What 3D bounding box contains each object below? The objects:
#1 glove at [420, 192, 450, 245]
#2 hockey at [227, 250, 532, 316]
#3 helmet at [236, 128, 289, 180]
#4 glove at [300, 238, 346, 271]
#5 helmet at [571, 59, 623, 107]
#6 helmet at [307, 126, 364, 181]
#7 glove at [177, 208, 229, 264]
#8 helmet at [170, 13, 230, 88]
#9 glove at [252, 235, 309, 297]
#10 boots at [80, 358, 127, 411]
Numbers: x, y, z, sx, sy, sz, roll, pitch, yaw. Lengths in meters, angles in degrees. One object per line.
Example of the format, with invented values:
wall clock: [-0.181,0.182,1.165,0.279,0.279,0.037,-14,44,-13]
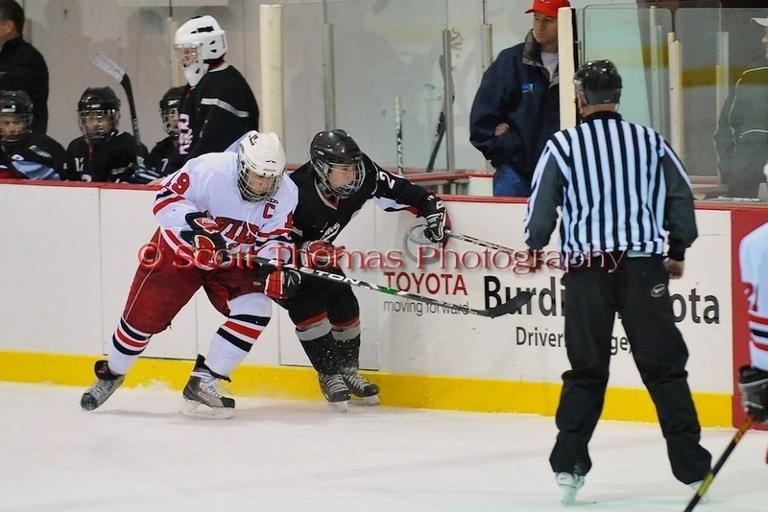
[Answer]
glove: [0.283,-0.222,6.768,0.171,0.265,0.111,-22,-7,28]
hockey: [0.047,0.204,6.685,1.392,0.373,0.030,8,8,10]
helmet: [-0.690,-0.558,6.552,0.234,0.251,0.273,-4,45,-30]
glove: [-0.373,-0.004,6.857,0.226,0.085,0.165,3,13,3]
helmet: [1.041,-0.841,5.705,0.213,0.190,0.226,-3,33,2]
helmet: [-0.268,-0.592,6.701,0.318,0.257,0.240,5,18,25]
glove: [-1.006,-0.093,6.488,0.211,0.318,0.138,-19,4,-19]
helmet: [-1.147,-1.360,7.579,0.440,0.518,0.421,-6,17,-20]
glove: [-0.579,0.064,6.624,0.270,0.339,0.098,-3,-7,13]
boots: [-1.705,0.783,6.919,0.161,0.258,0.441,13,0,-4]
